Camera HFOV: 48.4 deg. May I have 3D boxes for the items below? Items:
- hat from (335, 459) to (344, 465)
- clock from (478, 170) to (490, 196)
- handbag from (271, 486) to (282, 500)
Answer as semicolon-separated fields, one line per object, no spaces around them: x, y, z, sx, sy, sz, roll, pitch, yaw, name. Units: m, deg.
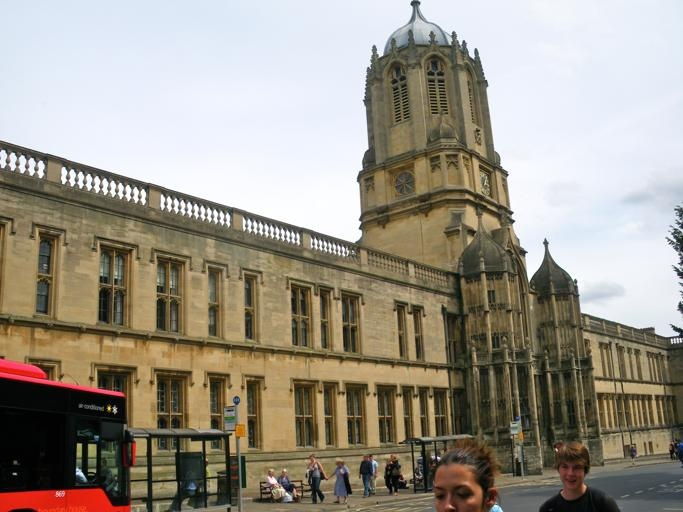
-0.096;7.764;28.674;0.246;0.332;0.487;-5;-3;6;hat
9.479;-4.805;50.158;0.290;1.748;1.551;-15;-23;28;clock
-2.339;8.491;27.267;0.316;0.414;0.138;-7;-4;22;handbag
